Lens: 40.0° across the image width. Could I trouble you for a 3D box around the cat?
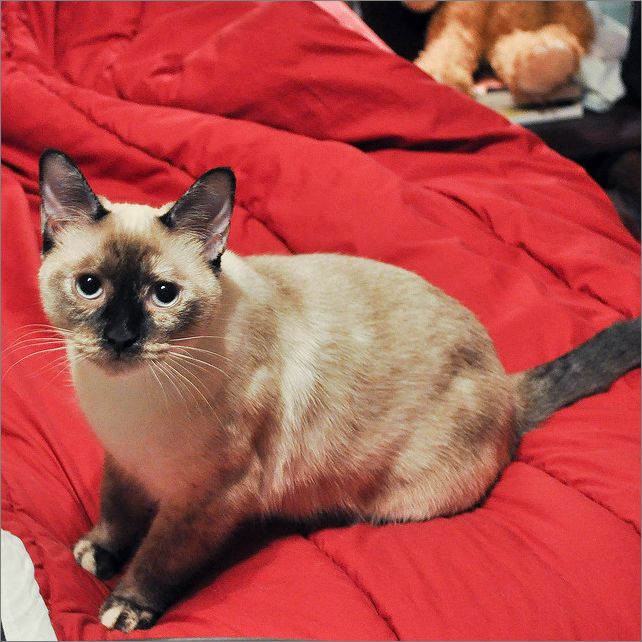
[{"bbox_3d":[0.049,0.054,1.198,0.805,0.343,0.567,-7,59,-9],"label":"cat"}]
